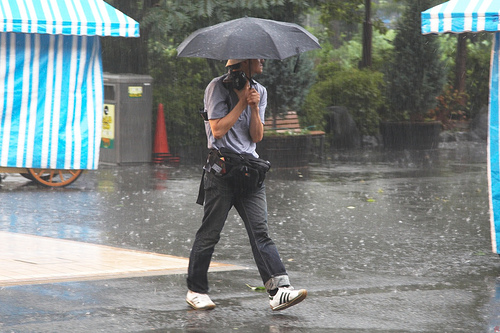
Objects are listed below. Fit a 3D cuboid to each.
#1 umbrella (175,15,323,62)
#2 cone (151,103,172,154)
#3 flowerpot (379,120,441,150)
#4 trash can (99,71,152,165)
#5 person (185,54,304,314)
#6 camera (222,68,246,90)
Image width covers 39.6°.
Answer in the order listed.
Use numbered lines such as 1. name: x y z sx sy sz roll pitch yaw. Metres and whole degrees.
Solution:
1. umbrella: -0.004 -1.265 6.838 1.402 0.456 0.465 -1 3 -4
2. cone: -2.327 -0.979 18.139 0.484 1.315 0.987 -2 3 -6
3. flowerpot: 5.243 -1.004 22.655 1.782 0.896 0.583 -1 3 10
4. trash can: -3.107 -1.185 17.400 1.473 1.947 1.433 4 6 39
5. person: -0.118 0.203 6.945 1.072 2.544 0.411 -2 3 -6
6. camera: -0.141 -0.849 6.848 0.241 0.197 0.168 0 -1 25
